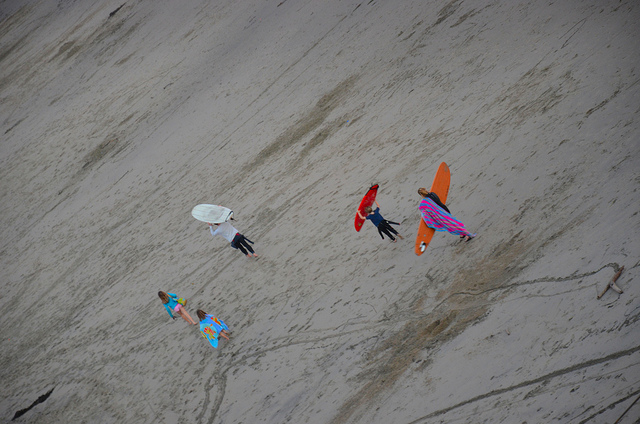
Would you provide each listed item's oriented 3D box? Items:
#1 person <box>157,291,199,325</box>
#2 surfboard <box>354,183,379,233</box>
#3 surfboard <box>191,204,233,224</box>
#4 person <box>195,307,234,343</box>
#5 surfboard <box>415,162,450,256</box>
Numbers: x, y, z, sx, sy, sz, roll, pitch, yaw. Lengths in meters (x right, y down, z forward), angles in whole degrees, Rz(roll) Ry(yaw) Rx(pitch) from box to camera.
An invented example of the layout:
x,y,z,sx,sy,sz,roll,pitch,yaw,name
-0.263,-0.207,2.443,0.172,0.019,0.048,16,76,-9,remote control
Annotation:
x,y,z,sx,sy,sz,roll,pitch,yaw,name
-4.290,2.942,44.000,0.651,1.528,0.440,-52,15,-21,person
1.273,-0.148,43.627,0.485,1.679,0.246,22,12,-44,surfboard
-3.249,0.106,44.286,1.133,0.612,0.569,-11,3,43,surfboard
-3.129,3.406,43.736,0.817,1.094,0.445,-14,2,-7,person
3.408,-0.080,43.277,1.428,2.390,0.784,2,-2,-5,surfboard
